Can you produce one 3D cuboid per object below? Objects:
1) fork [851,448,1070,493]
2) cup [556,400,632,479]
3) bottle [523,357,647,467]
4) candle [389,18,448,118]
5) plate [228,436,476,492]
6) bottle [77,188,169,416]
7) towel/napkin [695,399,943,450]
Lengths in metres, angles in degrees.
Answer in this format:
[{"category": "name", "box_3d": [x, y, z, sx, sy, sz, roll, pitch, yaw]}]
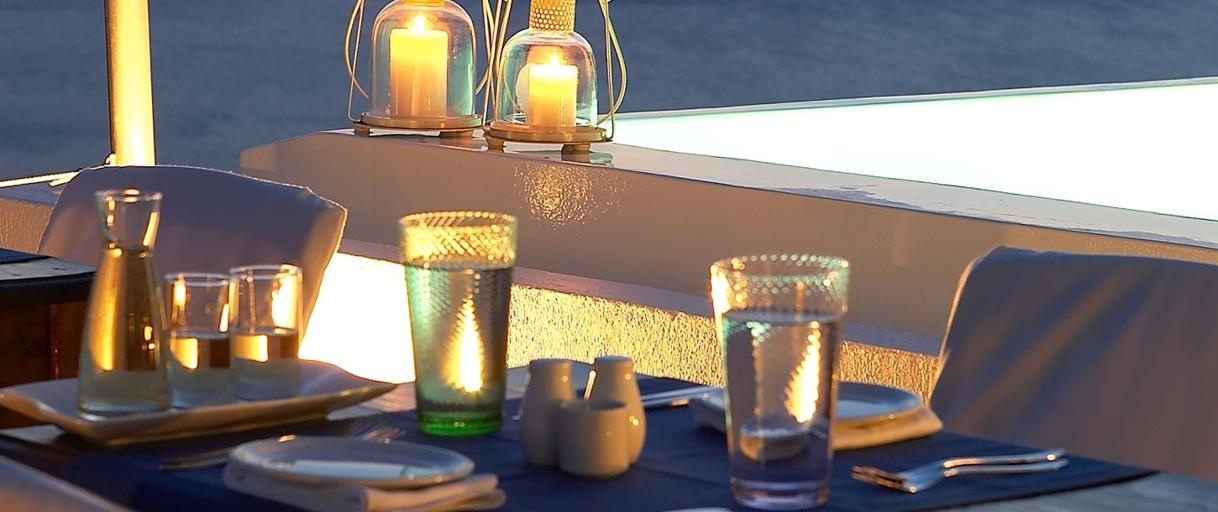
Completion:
[{"category": "fork", "box_3d": [1.189, 0.744, 5.465, 0.694, 0.080, 0.089, -3, -13, -5]}, {"category": "cup", "box_3d": [-0.061, 0.621, 5.554, 0.306, 0.212, 0.318, -3, 9, 0]}, {"category": "bottle", "box_3d": [-0.113, 0.530, 5.535, 0.521, 0.380, 0.353, 1, 1, -22]}, {"category": "candle", "box_3d": [-0.770, -0.729, 6.586, 0.208, 0.466, 0.158, 0, 2, 17]}, {"category": "plate", "box_3d": [-0.877, 0.717, 5.419, 0.494, 0.108, 0.552, 3, 8, 42]}, {"category": "bottle", "box_3d": [-1.630, 0.180, 5.579, 0.260, 0.823, 0.231, 8, 2, -29]}, {"category": "towel/napkin", "box_3d": [0.861, 0.568, 5.498, 0.384, 0.055, 0.377, -1, 3, -39]}]
